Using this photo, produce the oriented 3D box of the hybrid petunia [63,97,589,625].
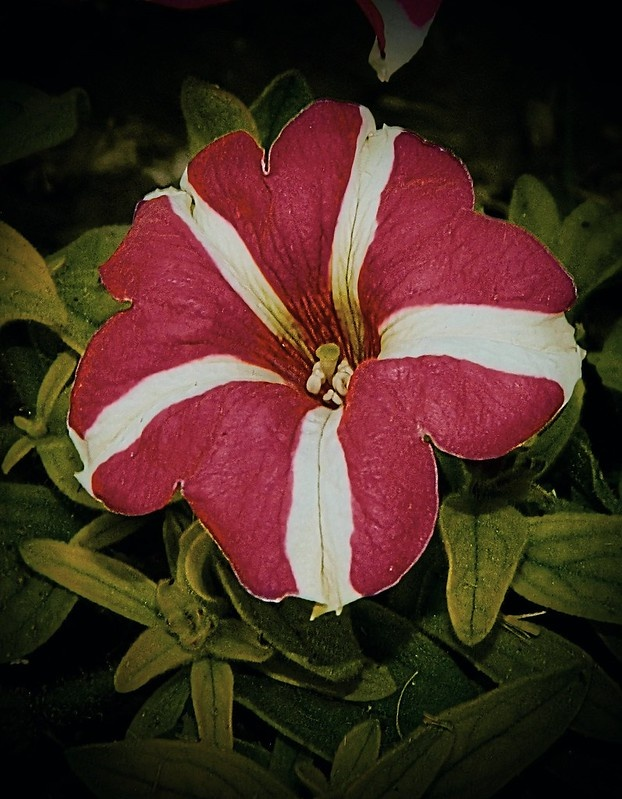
[{"bbox_3d":[0.004,-0.040,0.559,0.315,0.235,0.272,13,37,30],"label":"hybrid petunia"}]
